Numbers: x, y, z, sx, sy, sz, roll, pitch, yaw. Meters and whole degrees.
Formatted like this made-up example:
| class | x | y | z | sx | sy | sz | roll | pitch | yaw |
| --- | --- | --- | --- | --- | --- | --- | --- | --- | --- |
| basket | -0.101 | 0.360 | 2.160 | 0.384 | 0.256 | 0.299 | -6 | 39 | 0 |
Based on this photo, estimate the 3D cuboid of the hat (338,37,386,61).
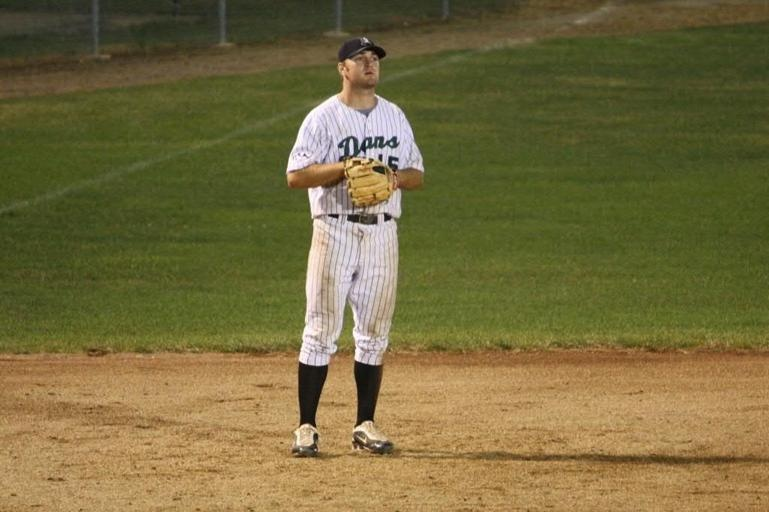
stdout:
| class | x | y | z | sx | sy | sz | roll | pitch | yaw |
| --- | --- | --- | --- | --- | --- | --- | --- | --- | --- |
| hat | -0.386 | -2.870 | 26.349 | 0.523 | 0.240 | 0.371 | -8 | 0 | 38 |

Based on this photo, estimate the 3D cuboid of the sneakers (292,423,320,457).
| class | x | y | z | sx | sy | sz | roll | pitch | yaw |
| --- | --- | --- | --- | --- | --- | --- | --- | --- | --- |
| sneakers | -1.085 | 2.544 | 26.345 | 0.306 | 0.239 | 0.504 | 0 | 4 | -5 |
